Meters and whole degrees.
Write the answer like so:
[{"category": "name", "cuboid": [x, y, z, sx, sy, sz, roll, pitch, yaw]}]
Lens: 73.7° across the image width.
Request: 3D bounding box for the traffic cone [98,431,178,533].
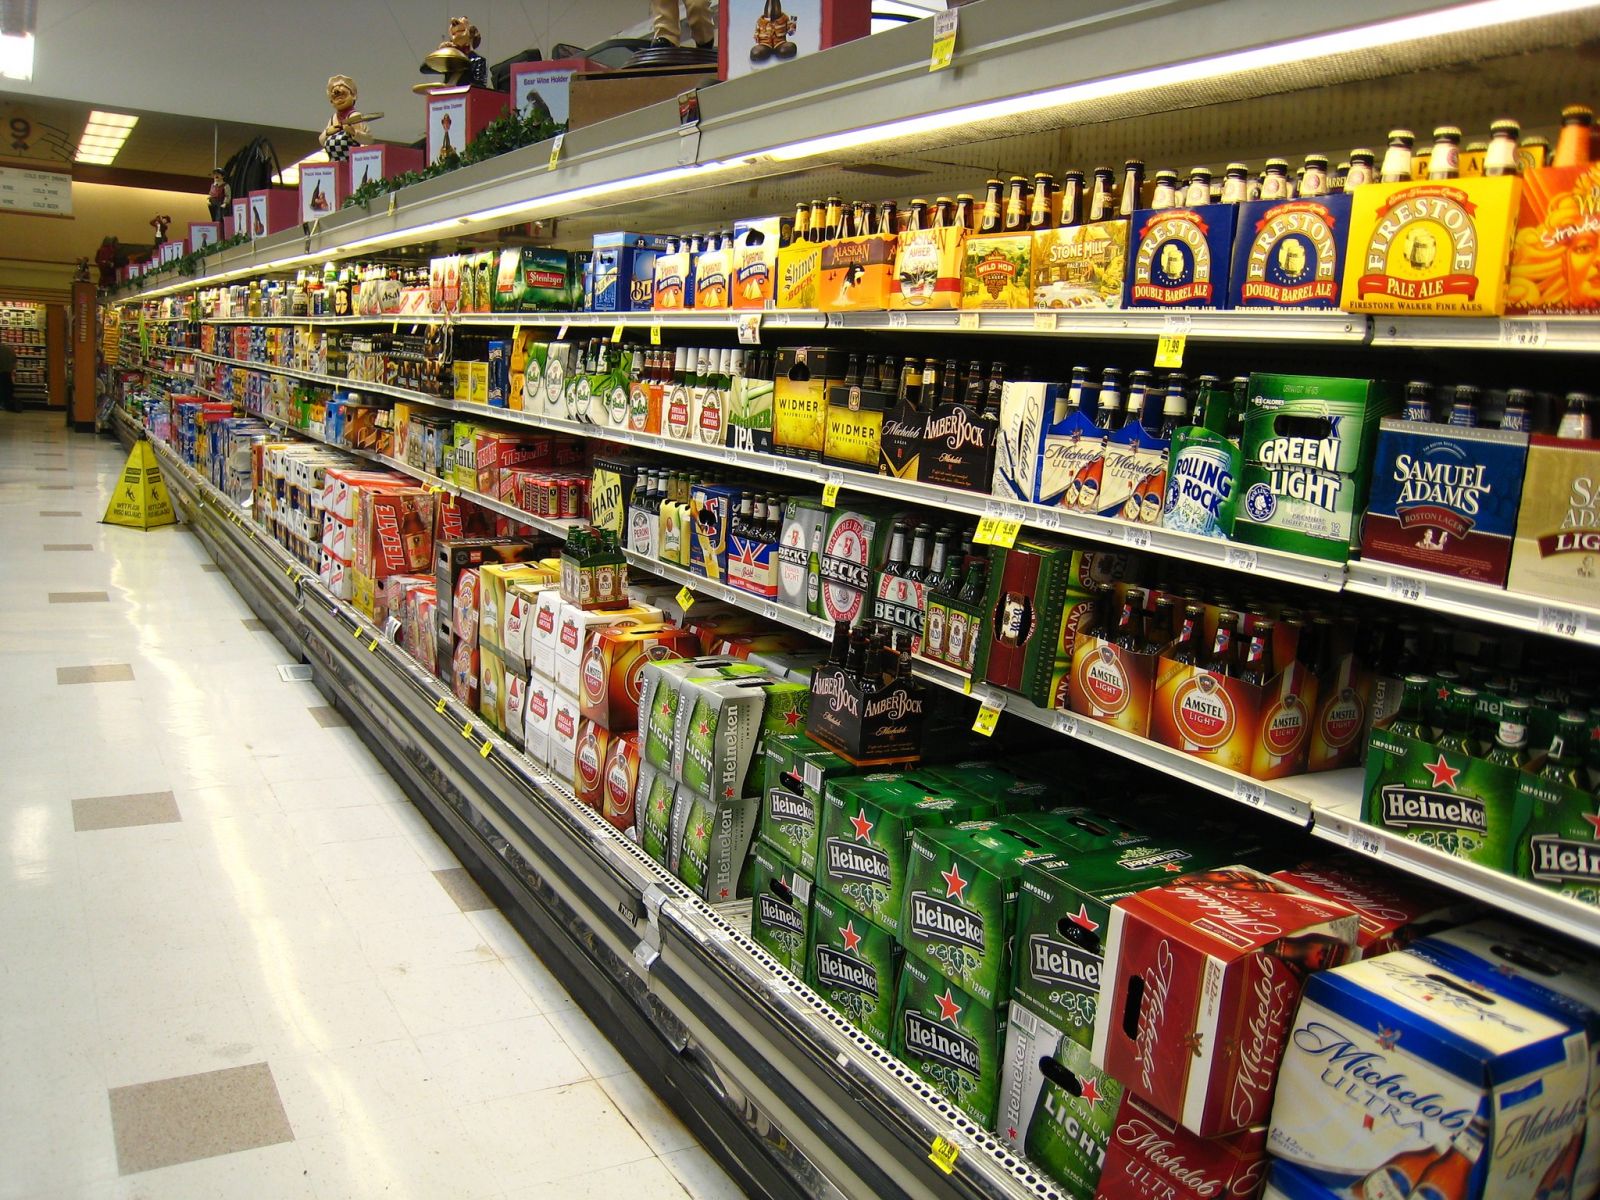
[{"category": "traffic cone", "cuboid": [-6.300, -1.162, 10.421, 0.822, 1.218, 0.846, 1, 5, -38]}]
